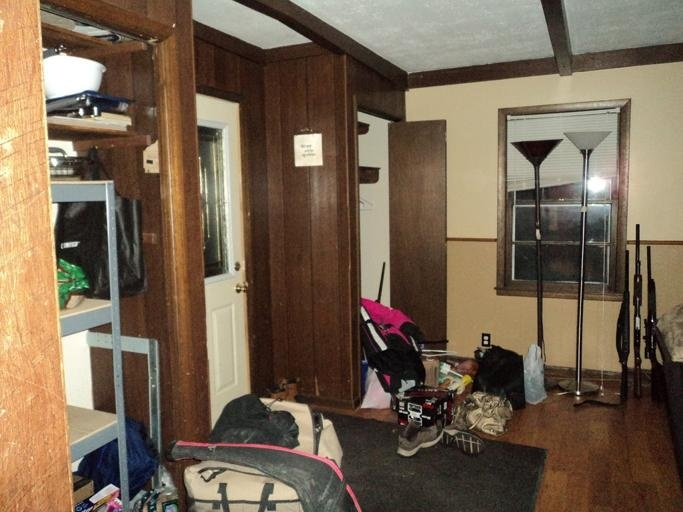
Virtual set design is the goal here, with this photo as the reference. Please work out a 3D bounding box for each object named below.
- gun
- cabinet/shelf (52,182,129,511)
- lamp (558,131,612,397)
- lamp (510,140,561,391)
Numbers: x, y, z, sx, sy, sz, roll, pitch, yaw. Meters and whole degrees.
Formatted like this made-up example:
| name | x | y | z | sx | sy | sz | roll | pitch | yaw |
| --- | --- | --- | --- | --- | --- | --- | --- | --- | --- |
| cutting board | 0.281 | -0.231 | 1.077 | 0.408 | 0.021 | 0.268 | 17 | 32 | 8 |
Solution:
| name | x | y | z | sx | sy | sz | roll | pitch | yaw |
| --- | --- | --- | --- | --- | --- | --- | --- | --- | --- |
| gun | 2.214 | 0.405 | 4.244 | 0.247 | 1.298 | 0.217 | 1 | -8 | -5 |
| cabinet/shelf | -0.962 | 0.349 | 2.257 | 0.274 | 1.302 | 0.429 | -7 | 14 | -23 |
| lamp | 1.818 | 0.047 | 4.341 | 0.356 | 1.945 | 0.784 | 3 | 13 | 20 |
| lamp | 1.513 | -0.024 | 4.443 | 0.419 | 1.725 | 0.385 | 1 | 5 | 20 |
